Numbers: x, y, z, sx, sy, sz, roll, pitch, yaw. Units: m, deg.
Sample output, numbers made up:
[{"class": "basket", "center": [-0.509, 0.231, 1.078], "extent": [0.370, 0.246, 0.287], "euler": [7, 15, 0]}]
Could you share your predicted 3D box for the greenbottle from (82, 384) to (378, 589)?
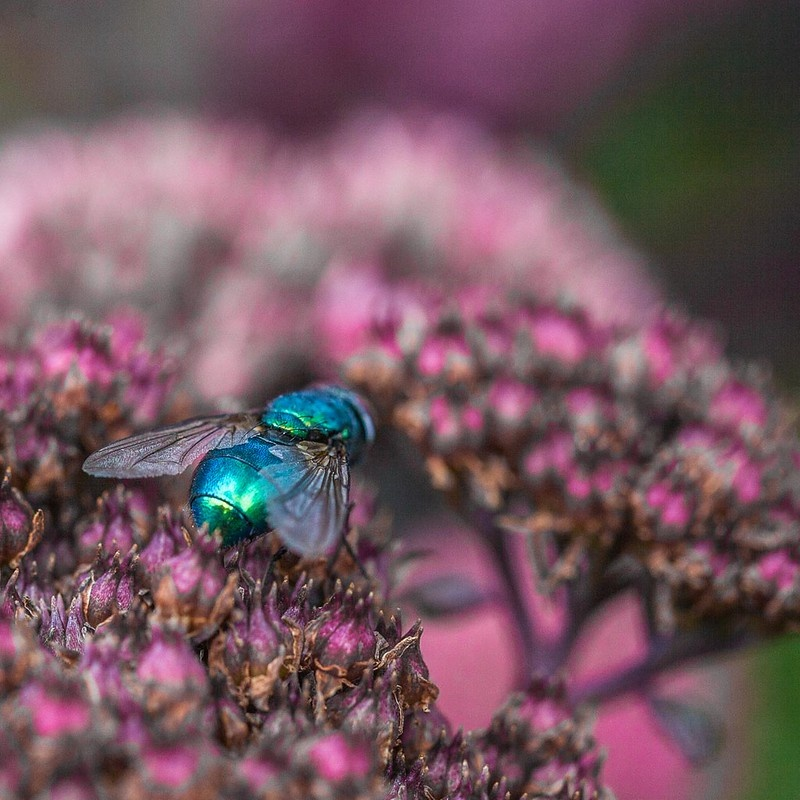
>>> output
[{"class": "greenbottle", "center": [-0.179, 0.093, 1.371], "extent": [0.332, 0.471, 0.173], "euler": [12, 108, 8]}]
